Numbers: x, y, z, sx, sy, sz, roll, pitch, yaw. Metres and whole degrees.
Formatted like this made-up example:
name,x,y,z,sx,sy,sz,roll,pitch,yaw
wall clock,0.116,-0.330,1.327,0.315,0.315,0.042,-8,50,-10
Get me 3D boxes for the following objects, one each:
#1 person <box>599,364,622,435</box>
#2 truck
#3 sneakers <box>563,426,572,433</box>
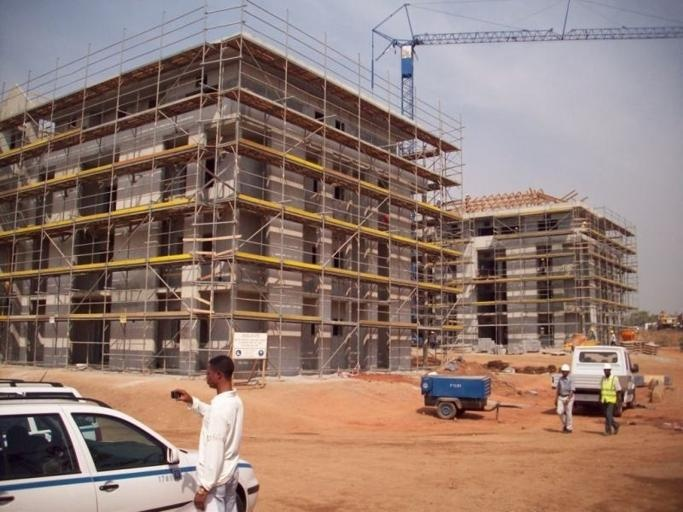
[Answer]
name,x,y,z,sx,sy,sz,roll,pitch,yaw
person,8.236,4.331,20.223,0.533,2.021,1.078,-3,-14,22
truck,9.527,4.275,24.533,2.499,1.757,3.891,-2,-4,32
sneakers,6.938,5.276,20.293,0.306,0.188,0.153,-2,-25,-2
